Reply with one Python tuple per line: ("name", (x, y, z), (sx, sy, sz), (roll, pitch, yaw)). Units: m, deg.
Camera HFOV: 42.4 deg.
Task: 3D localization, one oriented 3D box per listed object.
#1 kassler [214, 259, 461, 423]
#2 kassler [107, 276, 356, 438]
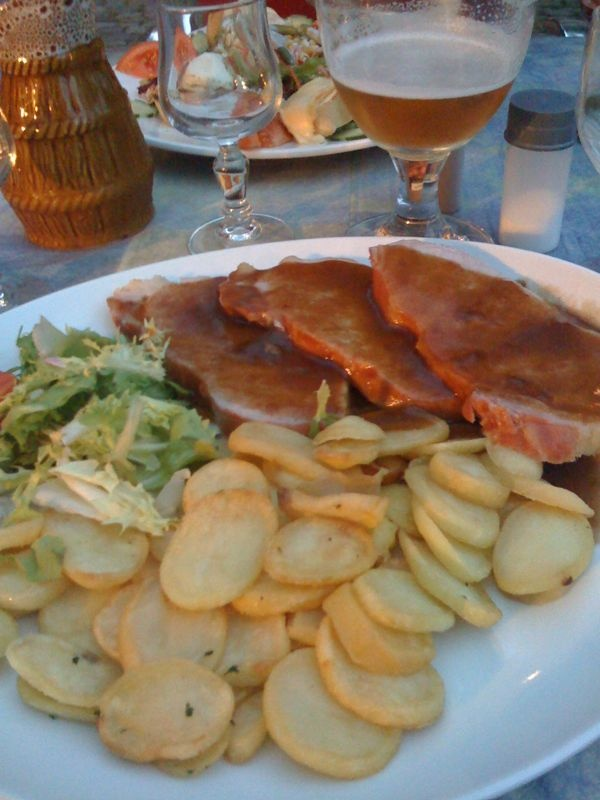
("kassler", (0.056, -0.054, 1.065), (0.310, 0.032, 0.184), (35, 43, 24))
("kassler", (-0.098, -0.055, 1.037), (0.322, 0.052, 0.186), (32, 45, 21))
